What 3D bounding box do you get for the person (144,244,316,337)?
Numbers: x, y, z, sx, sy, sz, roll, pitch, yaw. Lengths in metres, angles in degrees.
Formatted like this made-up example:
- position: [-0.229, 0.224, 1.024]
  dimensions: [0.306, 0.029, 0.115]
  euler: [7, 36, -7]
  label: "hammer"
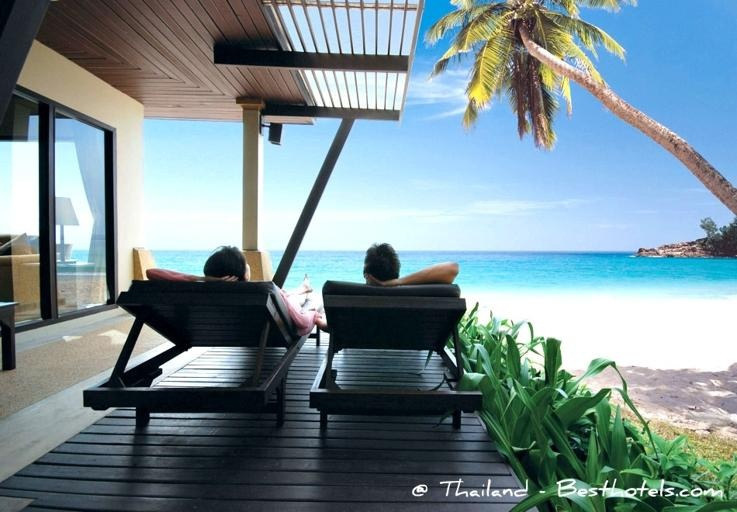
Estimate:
- position: [-1.010, 0.298, 4.492]
  dimensions: [1.090, 0.672, 1.826]
  euler: [13, -9, 19]
  label: "person"
